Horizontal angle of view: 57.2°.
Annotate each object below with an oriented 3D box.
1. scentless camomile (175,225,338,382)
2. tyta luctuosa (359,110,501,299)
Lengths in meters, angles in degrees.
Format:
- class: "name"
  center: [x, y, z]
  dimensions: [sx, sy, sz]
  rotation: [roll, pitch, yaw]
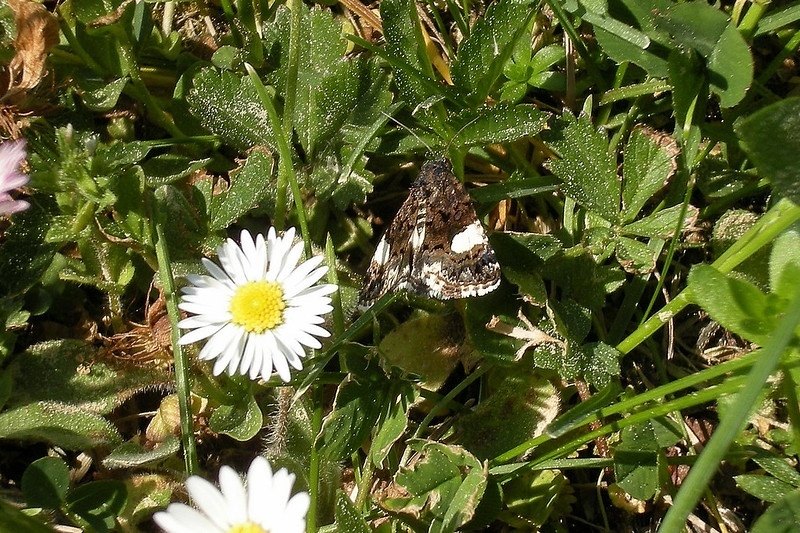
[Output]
- class: "scentless camomile"
  center: [-0.484, 0.098, 2.480]
  dimensions: [0.533, 0.211, 0.568]
  rotation: [-26, 37, -28]
- class: "tyta luctuosa"
  center: [0.127, -0.112, 2.750]
  dimensions: [0.491, 0.391, 0.558]
  rotation: [7, 39, 3]
